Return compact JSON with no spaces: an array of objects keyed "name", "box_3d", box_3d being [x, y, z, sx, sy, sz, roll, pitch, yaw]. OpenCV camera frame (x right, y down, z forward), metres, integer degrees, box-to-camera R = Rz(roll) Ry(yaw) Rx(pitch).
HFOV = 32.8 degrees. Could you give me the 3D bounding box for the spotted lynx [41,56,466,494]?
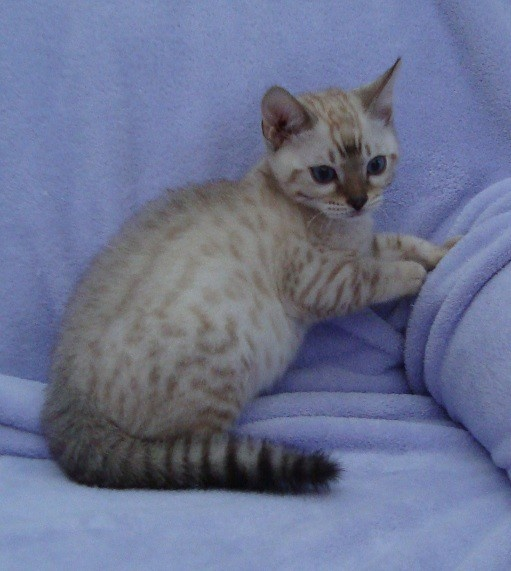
[{"name":"spotted lynx","box_3d":[-0.025,-0.052,1.577,0.633,0.778,0.479,10,13,11]}]
